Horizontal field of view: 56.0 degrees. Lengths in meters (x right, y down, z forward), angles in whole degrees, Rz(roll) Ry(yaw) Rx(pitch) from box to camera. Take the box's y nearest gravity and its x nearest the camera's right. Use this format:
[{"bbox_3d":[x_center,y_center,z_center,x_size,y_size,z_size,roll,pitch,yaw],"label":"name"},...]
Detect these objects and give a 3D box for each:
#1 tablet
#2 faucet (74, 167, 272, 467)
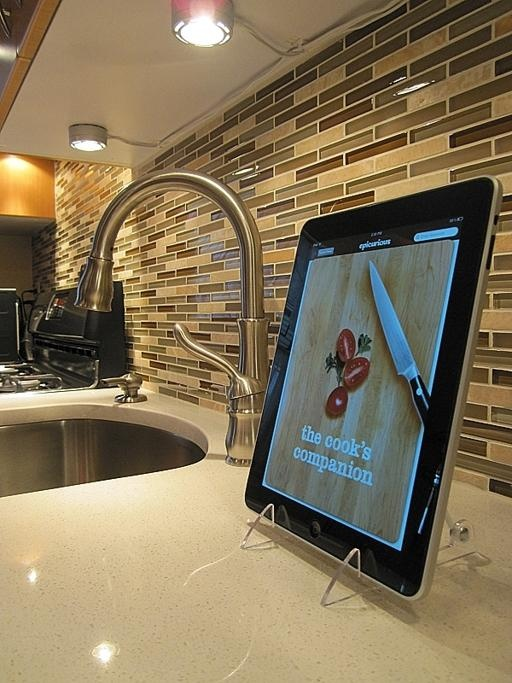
[{"bbox_3d":[0.074,0.019,0.417,0.083,0.306,0.251,0,-1,-27],"label":"tablet"},{"bbox_3d":[-0.129,-0.037,0.786,0.338,0.452,0.104,3,10,16],"label":"faucet"}]
